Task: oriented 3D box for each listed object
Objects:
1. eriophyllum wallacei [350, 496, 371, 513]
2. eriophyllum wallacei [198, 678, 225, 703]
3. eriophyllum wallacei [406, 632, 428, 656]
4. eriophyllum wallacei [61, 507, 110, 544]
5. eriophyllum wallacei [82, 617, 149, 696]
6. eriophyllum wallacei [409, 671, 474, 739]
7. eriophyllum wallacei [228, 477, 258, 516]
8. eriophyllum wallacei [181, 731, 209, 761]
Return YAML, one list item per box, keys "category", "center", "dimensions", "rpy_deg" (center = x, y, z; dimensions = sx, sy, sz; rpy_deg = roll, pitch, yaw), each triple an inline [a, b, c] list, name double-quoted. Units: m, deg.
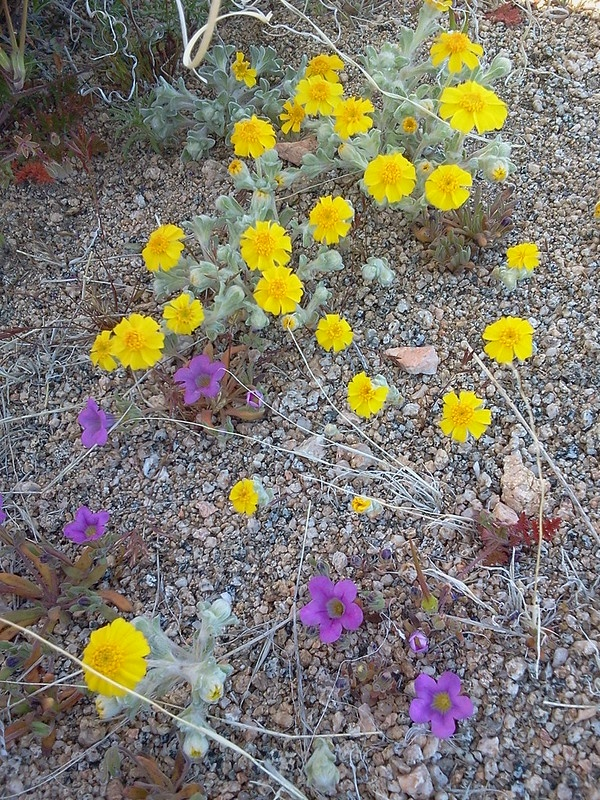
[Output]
- category: "eriophyllum wallacei"
  center: [0.161, 0.284, 1.838]
  dimensions: [0.046, 0.020, 0.045]
  rpy_deg: [-2, 32, 21]
- category: "eriophyllum wallacei"
  center: [-0.199, 0.654, 1.562]
  dimensions: [0.047, 0.069, 0.037]
  rpy_deg: [-3, 51, -10]
- category: "eriophyllum wallacei"
  center: [0.276, 0.575, 1.673]
  dimensions: [0.050, 0.061, 0.061]
  rpy_deg: [0, 88, -4]
- category: "eriophyllum wallacei"
  center: [-0.562, 0.352, 1.868]
  dimensions: [0.088, 0.106, 0.093]
  rpy_deg: [15, 50, 5]
- category: "eriophyllum wallacei"
  center: [-0.385, 0.577, 1.501]
  dimensions: [0.133, 0.232, 0.134]
  rpy_deg: [-4, 51, -11]
- category: "eriophyllum wallacei"
  center: [0.308, 0.663, 1.537]
  dimensions: [0.129, 0.078, 0.116]
  rpy_deg: [30, 53, 18]
- category: "eriophyllum wallacei"
  center: [-0.141, 0.246, 1.819]
  dimensions: [0.071, 0.083, 0.084]
  rpy_deg: [11, 50, 2]
- category: "eriophyllum wallacei"
  center: [-0.231, 0.766, 1.546]
  dimensions: [0.051, 0.061, 0.048]
  rpy_deg: [27, 52, 15]
